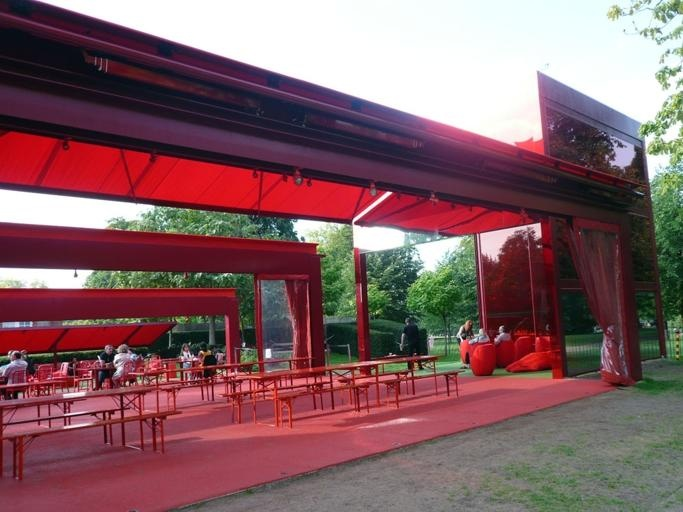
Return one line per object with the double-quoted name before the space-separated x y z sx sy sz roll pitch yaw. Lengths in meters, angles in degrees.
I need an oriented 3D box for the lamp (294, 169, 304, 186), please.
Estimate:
"lamp" -0.564 -1.116 7.355 0.134 0.164 0.179 2 -11 -11
